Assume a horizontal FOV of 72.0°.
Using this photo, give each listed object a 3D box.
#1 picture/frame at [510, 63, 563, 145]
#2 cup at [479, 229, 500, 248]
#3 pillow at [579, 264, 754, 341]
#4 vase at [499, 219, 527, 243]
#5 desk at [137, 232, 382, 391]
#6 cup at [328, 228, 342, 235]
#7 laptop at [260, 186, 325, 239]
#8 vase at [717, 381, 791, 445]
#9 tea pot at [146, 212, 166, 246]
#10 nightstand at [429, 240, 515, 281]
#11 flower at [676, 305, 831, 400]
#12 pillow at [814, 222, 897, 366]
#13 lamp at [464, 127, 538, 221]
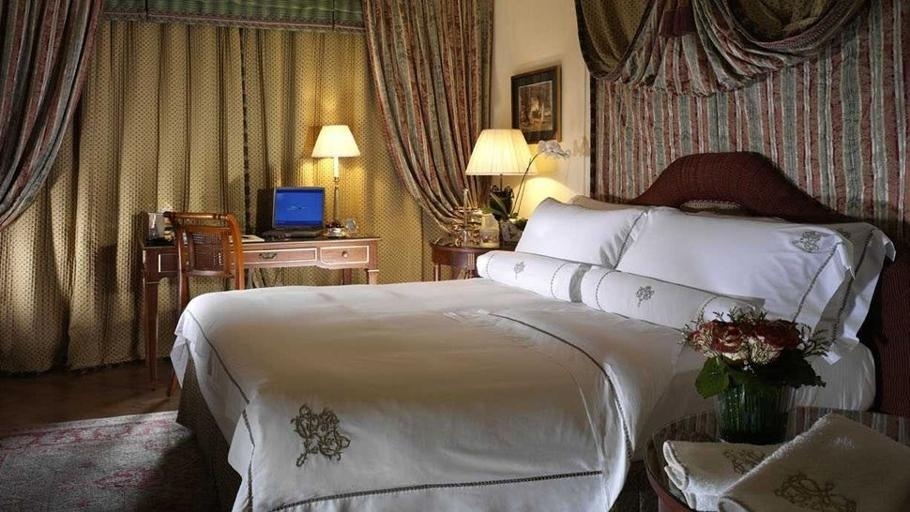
[{"bbox_3d":[0.693,-1.262,5.142,0.062,0.801,0.789,-4,6,-32],"label":"picture/frame"},{"bbox_3d":[0.272,-0.138,4.860,0.154,0.140,0.147,-1,5,0],"label":"cup"},{"bbox_3d":[1.024,0.219,3.140,0.835,0.214,0.270,6,36,46],"label":"pillow"},{"bbox_3d":[0.477,-0.189,5.074,0.203,0.175,0.197,5,-3,-15],"label":"vase"},{"bbox_3d":[-1.247,0.319,3.771,1.219,0.726,0.415,-2,2,-26],"label":"desk"},{"bbox_3d":[-0.970,-0.200,5.098,0.077,0.032,0.058,2,-2,-26],"label":"cup"},{"bbox_3d":[-1.310,-0.358,5.028,0.463,0.407,0.363,1,9,13],"label":"laptop"},{"bbox_3d":[1.182,0.598,2.469,0.265,0.236,0.244,3,-3,-3],"label":"vase"},{"bbox_3d":[-2.205,-0.196,4.595,0.142,0.233,0.256,-3,4,-28],"label":"tea pot"},{"bbox_3d":[0.148,0.053,5.065,0.457,0.471,0.458,-5,11,-27],"label":"nightstand"},{"bbox_3d":[1.218,0.423,2.526,0.554,0.289,0.508,-27,-26,33],"label":"flower"},{"bbox_3d":[1.949,0.149,3.070,0.626,0.580,0.149,-8,21,-33],"label":"pillow"},{"bbox_3d":[0.375,-0.772,5.234,0.544,0.587,0.520,-5,26,-7],"label":"lamp"}]
